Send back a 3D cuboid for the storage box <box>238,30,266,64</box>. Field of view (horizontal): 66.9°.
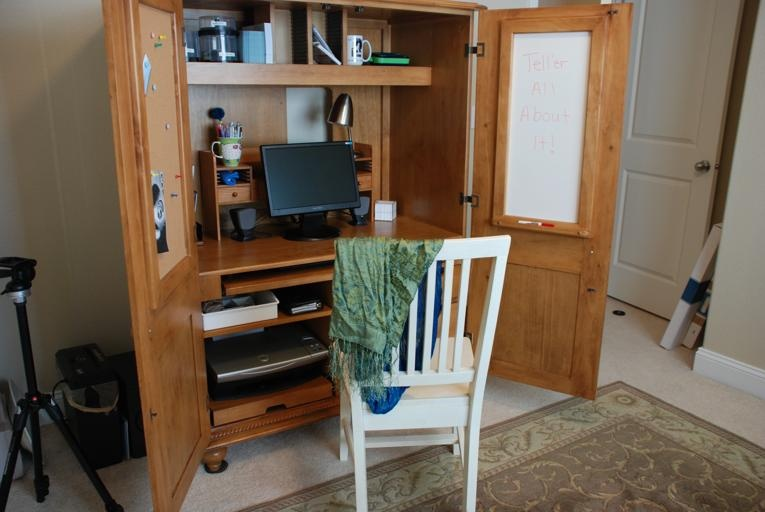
[{"bbox_3d":[-0.658,-1.083,3.012,0.136,0.166,0.152,0,19,-3],"label":"storage box"}]

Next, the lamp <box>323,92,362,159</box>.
[{"bbox_3d":[-0.173,-0.749,3.309,0.137,0.311,0.209,1,22,41],"label":"lamp"}]

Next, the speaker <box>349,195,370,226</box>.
[{"bbox_3d":[-0.141,-0.270,3.424,0.145,0.205,0.113,-7,24,-30],"label":"speaker"}]

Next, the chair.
[{"bbox_3d":[0.141,0.489,2.731,0.732,1.324,0.738,-2,18,-5],"label":"chair"}]

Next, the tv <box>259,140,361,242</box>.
[{"bbox_3d":[-0.396,-0.368,3.250,0.561,0.508,0.283,-9,20,-32],"label":"tv"}]

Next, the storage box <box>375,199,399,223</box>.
[{"bbox_3d":[0.017,-0.277,3.533,0.126,0.104,0.126,3,18,9],"label":"storage box"}]

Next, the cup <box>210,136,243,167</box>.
[{"bbox_3d":[-0.887,-0.564,3.133,0.203,0.177,0.133,-12,24,-35],"label":"cup"}]
